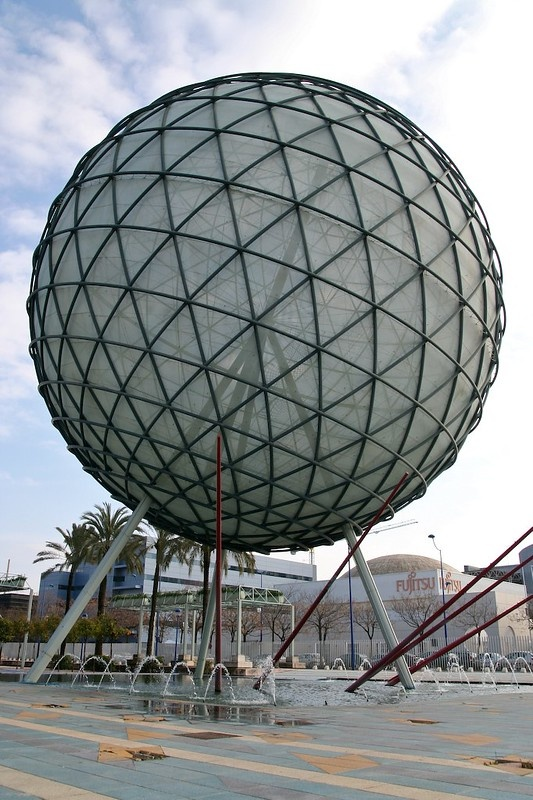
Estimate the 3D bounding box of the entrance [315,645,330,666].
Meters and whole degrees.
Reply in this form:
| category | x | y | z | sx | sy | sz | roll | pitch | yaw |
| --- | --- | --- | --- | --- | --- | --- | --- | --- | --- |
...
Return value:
| category | x | y | z | sx | sy | sz | roll | pitch | yaw |
| --- | --- | --- | --- | --- | --- | --- | --- | --- | --- |
| entrance | 4.724 | 21.412 | 48.662 | 0.180 | 2.478 | 1.791 | 9 | -18 | -34 |
